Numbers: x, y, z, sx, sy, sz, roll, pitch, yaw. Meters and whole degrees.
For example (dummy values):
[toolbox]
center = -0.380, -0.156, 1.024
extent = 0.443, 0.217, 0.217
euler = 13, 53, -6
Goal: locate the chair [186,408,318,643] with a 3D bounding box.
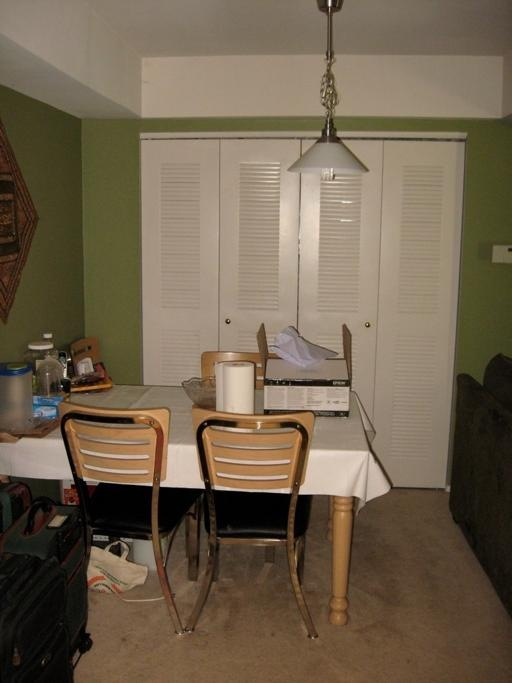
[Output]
[chair]
center = -0.013, 0.588, 1.894
extent = 0.434, 0.787, 0.379
euler = 2, 5, 10

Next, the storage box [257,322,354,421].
[storage box]
center = 0.184, 0.103, 2.198
extent = 0.295, 0.342, 0.317
euler = 1, 23, 3

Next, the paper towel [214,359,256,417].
[paper towel]
center = -0.070, 0.162, 1.999
extent = 0.140, 0.185, 0.156
euler = 1, 12, 5

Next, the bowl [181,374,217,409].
[bowl]
center = -0.217, 0.188, 2.220
extent = 0.112, 0.072, 0.116
euler = 1, 9, 0
